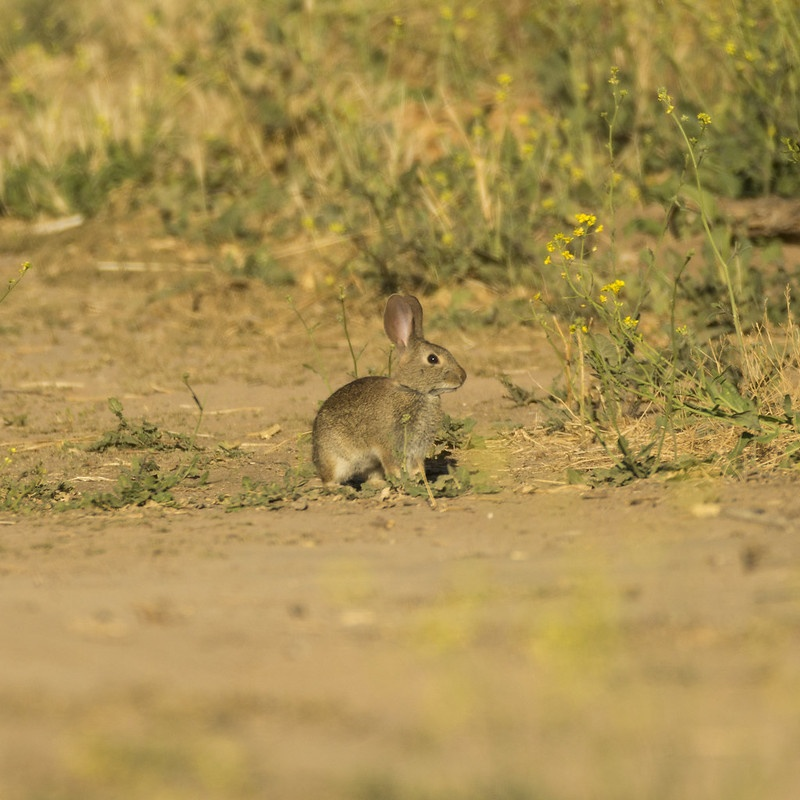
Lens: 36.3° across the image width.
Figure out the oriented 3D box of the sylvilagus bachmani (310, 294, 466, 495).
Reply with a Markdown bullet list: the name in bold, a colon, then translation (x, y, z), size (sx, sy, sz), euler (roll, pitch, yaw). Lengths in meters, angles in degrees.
- **sylvilagus bachmani**: translation (-0.063, 0.016, 6.039), size (0.606, 0.909, 0.869), euler (12, 32, 20)
